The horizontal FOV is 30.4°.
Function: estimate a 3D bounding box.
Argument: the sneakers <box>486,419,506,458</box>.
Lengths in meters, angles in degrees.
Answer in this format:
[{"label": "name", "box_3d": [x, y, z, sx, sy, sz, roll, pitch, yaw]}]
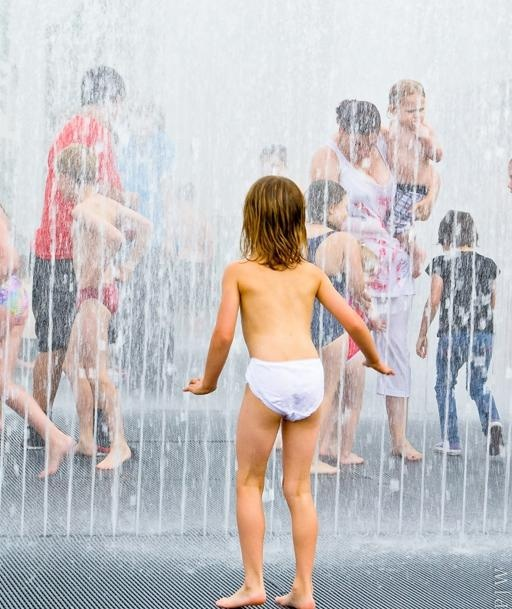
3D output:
[{"label": "sneakers", "box_3d": [1.171, 0.648, 4.586, 0.049, 0.208, 0.065, -2, -1, 9]}]

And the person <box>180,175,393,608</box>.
[{"label": "person", "box_3d": [0.010, 0.274, 2.973, 0.391, 1.344, 0.262, 2, 7, 4]}]
